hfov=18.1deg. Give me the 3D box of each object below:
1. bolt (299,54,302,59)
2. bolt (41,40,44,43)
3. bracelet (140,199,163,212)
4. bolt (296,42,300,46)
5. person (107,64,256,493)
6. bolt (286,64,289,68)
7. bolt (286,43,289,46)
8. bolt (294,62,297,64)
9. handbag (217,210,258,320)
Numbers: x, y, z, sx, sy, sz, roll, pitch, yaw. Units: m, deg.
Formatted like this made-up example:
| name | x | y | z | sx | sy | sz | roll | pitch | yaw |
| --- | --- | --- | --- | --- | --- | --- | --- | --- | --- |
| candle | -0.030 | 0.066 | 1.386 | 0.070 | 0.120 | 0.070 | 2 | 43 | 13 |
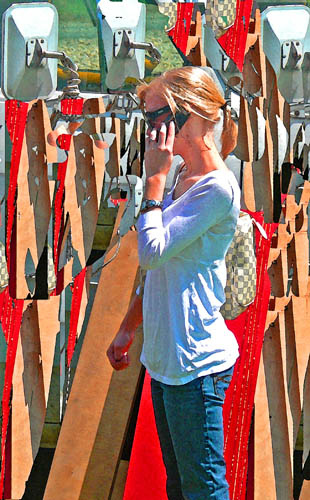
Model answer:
| name | x | y | z | sx | sy | sz | roll | pitch | yaw |
| --- | --- | --- | --- | --- | --- | --- | --- | --- | --- |
| bolt | 0.462 | -0.625 | 3.127 | 0.012 | 0.020 | 0.008 | 2 | 10 | -3 |
| bolt | -0.338 | -0.628 | 2.928 | 0.008 | 0.010 | 0.003 | 5 | 5 | -8 |
| bracelet | -0.010 | -0.109 | 2.456 | 0.052 | 0.036 | 0.060 | 8 | 7 | -1 |
| bolt | 0.453 | -0.660 | 3.116 | 0.012 | 0.011 | 0.003 | 5 | 5 | -16 |
| person | 0.079 | 0.101 | 2.532 | 0.276 | 1.136 | 0.380 | 4 | 5 | -2 |
| bolt | 0.423 | -0.594 | 3.144 | 0.012 | 0.011 | 0.005 | 3 | 5 | -30 |
| bolt | 0.419 | -0.658 | 3.115 | 0.010 | 0.009 | 0.003 | 6 | 5 | -8 |
| bolt | 0.448 | -0.603 | 3.137 | 0.008 | 0.007 | 0.004 | 8 | 6 | 8 |
| handbag | 0.241 | 0.046 | 2.896 | 0.116 | 0.347 | 0.203 | 4 | 13 | -5 |
